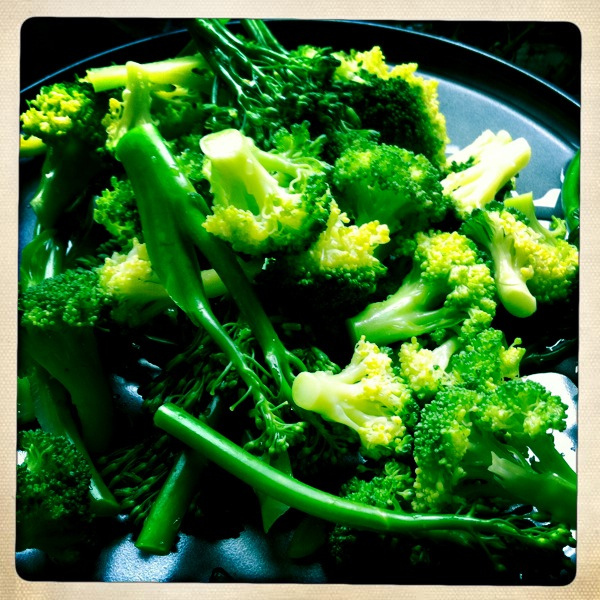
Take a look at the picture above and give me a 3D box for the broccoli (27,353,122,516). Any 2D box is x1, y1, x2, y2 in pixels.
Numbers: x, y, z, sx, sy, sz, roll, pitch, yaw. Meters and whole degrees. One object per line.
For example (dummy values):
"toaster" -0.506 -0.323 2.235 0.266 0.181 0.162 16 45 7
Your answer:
"broccoli" -0.528 0.231 1.170 0.100 0.085 0.454 -33 26 -23

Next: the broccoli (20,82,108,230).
"broccoli" -0.536 -0.332 1.262 0.178 0.324 0.121 -2 20 -23

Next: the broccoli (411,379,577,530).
"broccoli" 0.405 0.261 1.004 0.133 0.189 0.198 32 40 -3

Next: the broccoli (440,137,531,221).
"broccoli" 0.423 -0.278 1.271 0.239 0.070 0.131 -45 62 -9

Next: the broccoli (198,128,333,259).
"broccoli" -0.060 -0.177 1.013 0.286 0.149 0.371 -4 -5 -6

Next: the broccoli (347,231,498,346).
"broccoli" 0.253 0.026 1.147 0.246 0.144 0.226 -21 67 -5

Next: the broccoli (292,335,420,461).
"broccoli" 0.094 0.177 0.977 0.181 0.134 0.209 0 56 -2

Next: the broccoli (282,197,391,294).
"broccoli" 0.075 -0.093 1.080 0.180 0.168 0.111 19 47 -11

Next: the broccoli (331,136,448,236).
"broccoli" 0.180 -0.214 1.205 0.199 0.189 0.197 38 79 18

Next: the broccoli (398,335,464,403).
"broccoli" 0.237 0.103 1.013 0.110 0.055 0.114 39 20 -6

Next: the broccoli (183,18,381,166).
"broccoli" -0.047 -0.428 1.170 0.279 0.138 0.448 -32 73 -13

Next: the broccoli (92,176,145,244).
"broccoli" -0.399 -0.208 1.193 0.046 0.109 0.095 41 77 8
